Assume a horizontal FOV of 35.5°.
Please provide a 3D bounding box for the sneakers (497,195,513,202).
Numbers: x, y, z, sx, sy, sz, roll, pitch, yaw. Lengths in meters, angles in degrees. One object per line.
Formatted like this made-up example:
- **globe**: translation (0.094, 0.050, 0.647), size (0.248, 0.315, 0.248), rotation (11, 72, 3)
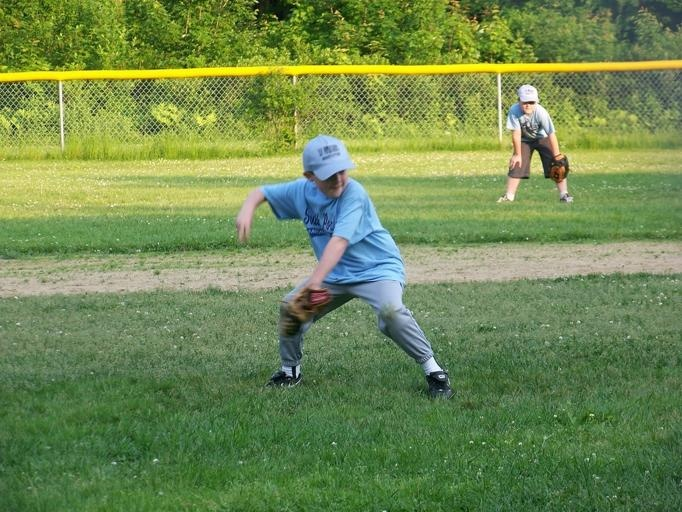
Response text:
- **sneakers**: translation (2.477, -0.865, 16.101), size (0.286, 0.124, 0.098), rotation (3, 8, 5)

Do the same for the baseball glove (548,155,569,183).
- **baseball glove**: translation (3.290, -1.310, 16.076), size (0.154, 0.399, 0.286), rotation (-4, -1, -40)

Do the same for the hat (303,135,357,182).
- **hat**: translation (-0.112, -0.790, 8.874), size (0.315, 0.245, 0.424), rotation (-14, 25, -18)

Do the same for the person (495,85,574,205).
- **person**: translation (2.963, -1.733, 16.317), size (1.080, 1.741, 1.151), rotation (0, 10, 12)

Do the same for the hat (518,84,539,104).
- **hat**: translation (2.828, -2.454, 16.245), size (0.250, 0.203, 0.398), rotation (2, 30, 1)

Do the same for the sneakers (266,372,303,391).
- **sneakers**: translation (-0.500, 1.122, 9.529), size (0.327, 0.143, 0.122), rotation (2, -2, -3)

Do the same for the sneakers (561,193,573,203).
- **sneakers**: translation (3.433, -0.884, 16.204), size (0.097, 0.105, 0.249), rotation (3, 14, 22)

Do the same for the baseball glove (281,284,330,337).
- **baseball glove**: translation (-0.303, 0.474, 9.070), size (0.410, 0.525, 0.512), rotation (-3, 10, -7)
